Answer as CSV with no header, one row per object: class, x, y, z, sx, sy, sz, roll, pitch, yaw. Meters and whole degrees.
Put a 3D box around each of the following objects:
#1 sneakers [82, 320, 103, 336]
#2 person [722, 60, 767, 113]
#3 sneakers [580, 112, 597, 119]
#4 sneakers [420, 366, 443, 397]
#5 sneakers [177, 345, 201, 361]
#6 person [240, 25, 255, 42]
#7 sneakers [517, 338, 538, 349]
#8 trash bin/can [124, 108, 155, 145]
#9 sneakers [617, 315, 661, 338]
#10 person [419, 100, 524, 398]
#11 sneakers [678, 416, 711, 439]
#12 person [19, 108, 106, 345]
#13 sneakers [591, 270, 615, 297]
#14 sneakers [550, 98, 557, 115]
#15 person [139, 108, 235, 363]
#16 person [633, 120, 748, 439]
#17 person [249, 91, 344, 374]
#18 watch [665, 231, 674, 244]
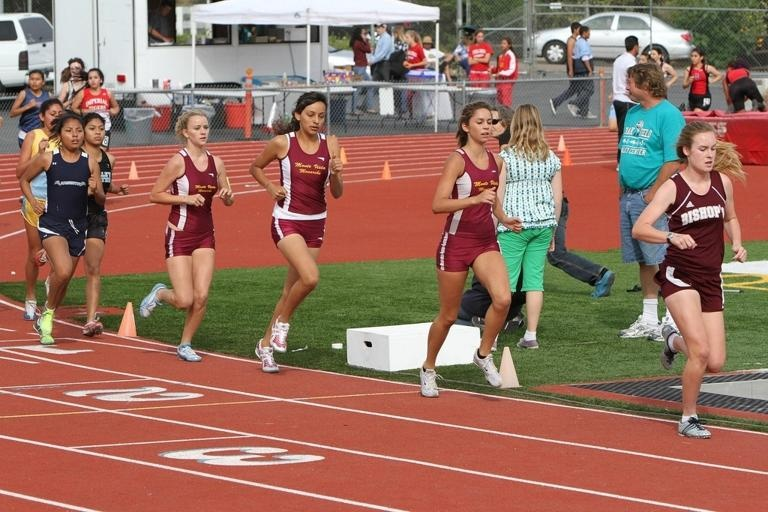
sneakers,-3.001,0.742,8.947,0.122,0.137,0.288,4,-16,-42
person,8.553,-4.035,20.741,0.628,1.257,1.224,1,9,9
sneakers,6.451,-4.438,27.629,0.546,0.196,0.193,-1,7,0
sneakers,0.360,1.050,7.177,0.110,0.119,0.283,-1,17,-16
sneakers,-1.865,0.913,8.247,0.277,0.118,0.109,7,11,32
person,-4.302,-6.812,26.818,0.500,0.710,0.479,-2,10,-7
sneakers,1.424,0.883,8.732,0.084,0.086,0.212,-5,9,-40
trash bin/can,-6.801,-3.558,23.876,1.017,0.933,0.969,-2,7,-19
sneakers,2.635,0.738,9.025,0.500,0.222,0.183,-1,3,5
person,0.648,-0.011,7.084,0.732,2.436,0.737,1,9,5
sneakers,2.202,1.217,6.246,0.122,0.112,0.243,-7,8,-44
person,-3.286,-0.181,8.942,0.746,2.069,0.614,-3,10,-20
sneakers,2.660,0.351,10.632,0.214,0.167,0.452,-7,-31,-5
sneakers,5.370,-4.724,27.826,0.224,0.528,0.166,-12,44,19
person,-1.905,-0.187,8.307,0.865,2.356,0.702,-2,9,-13
person,2.206,0.150,6.365,0.627,2.212,0.635,7,12,38
person,-0.800,-0.197,7.954,0.854,2.527,0.719,-1,9,-9
watch,2.000,-0.130,6.146,0.055,0.069,0.078,5,34,9
